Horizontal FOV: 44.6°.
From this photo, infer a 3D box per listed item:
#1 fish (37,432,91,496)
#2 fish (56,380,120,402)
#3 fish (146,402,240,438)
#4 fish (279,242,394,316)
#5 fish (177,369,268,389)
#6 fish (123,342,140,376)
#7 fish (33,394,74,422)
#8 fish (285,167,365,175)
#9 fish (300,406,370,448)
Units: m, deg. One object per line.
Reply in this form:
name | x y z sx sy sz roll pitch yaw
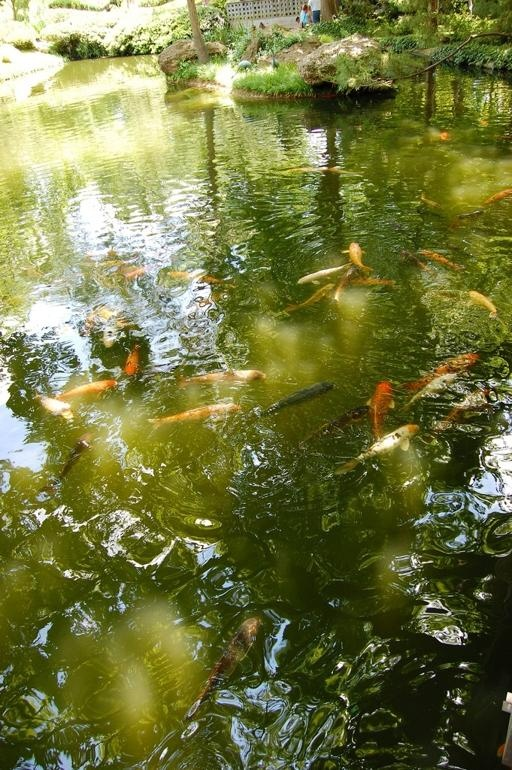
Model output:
fish | -1.236 0.528 4.080 0.180 0.114 0.507 21 49 27
fish | -1.282 0.055 4.811 0.368 0.108 0.079 -12 15 -19
fish | -0.416 0.257 4.301 0.641 0.164 0.115 -11 -4 -2
fish | 0.796 -0.979 5.944 1.103 0.567 0.457 -37 -4 -39
fish | -0.248 -0.060 4.746 0.646 0.066 0.191 0 26 12
fish | -1.003 -0.199 5.084 0.090 0.147 0.306 22 39 -3
fish | -1.508 0.156 4.715 0.134 0.173 0.438 -13 21 -43
fish | 1.051 -3.329 9.746 1.500 0.081 0.513 15 32 37
fish | 0.512 0.283 3.978 0.349 0.143 0.057 -27 37 -13
